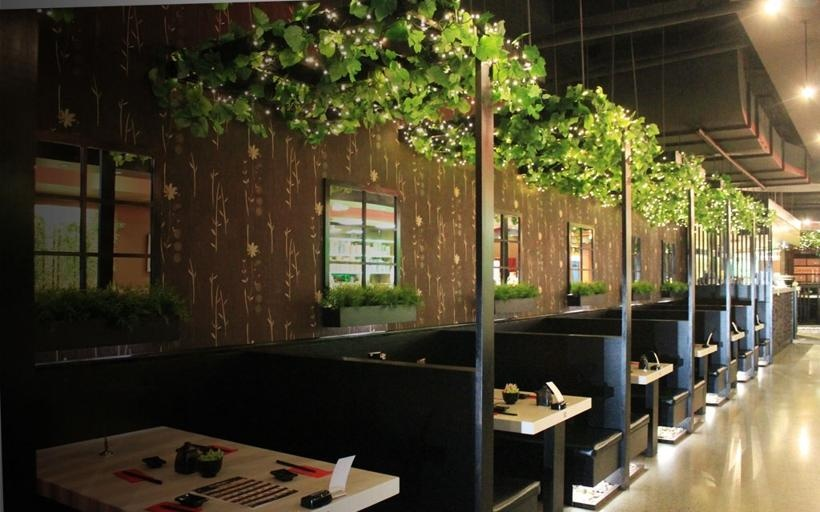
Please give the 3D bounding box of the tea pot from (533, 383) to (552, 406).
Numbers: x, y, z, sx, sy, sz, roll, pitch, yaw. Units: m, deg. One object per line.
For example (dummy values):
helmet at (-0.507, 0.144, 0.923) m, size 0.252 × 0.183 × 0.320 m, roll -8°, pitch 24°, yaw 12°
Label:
tea pot at (1.128, 1.184, 5.531) m, size 0.168 × 0.191 × 0.109 m, roll -2°, pitch -4°, yaw 25°

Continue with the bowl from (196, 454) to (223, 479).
bowl at (-1.304, 1.375, 4.257) m, size 0.143 × 0.106 × 0.144 m, roll 4°, pitch -5°, yaw 0°

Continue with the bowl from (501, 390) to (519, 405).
bowl at (0.863, 1.195, 5.541) m, size 0.133 × 0.114 × 0.194 m, roll -3°, pitch -3°, yaw 9°

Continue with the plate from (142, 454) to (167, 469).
plate at (-1.721, 1.389, 4.415) m, size 0.089 × 0.030 × 0.098 m, roll 5°, pitch 2°, yaw 39°
